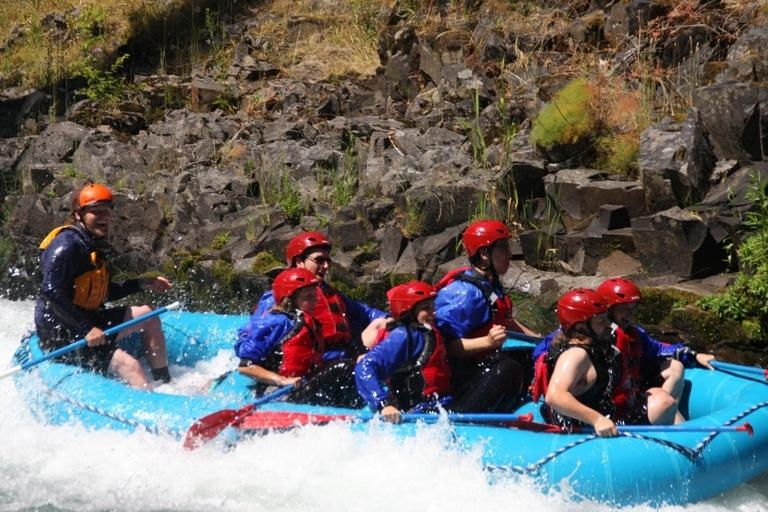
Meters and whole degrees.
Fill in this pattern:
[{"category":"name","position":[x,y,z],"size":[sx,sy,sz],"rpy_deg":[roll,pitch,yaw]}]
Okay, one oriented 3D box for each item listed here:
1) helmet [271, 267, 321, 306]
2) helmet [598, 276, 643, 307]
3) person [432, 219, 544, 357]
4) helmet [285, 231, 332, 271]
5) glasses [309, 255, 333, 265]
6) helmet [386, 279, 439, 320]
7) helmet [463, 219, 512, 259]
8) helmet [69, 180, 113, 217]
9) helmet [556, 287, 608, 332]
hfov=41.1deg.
[{"category":"helmet","position":[-1.122,0.371,12.432],"size":[0.506,0.523,0.453],"rpy_deg":[1,6,7]},{"category":"helmet","position":[2.769,0.415,12.046],"size":[0.375,0.437,0.310],"rpy_deg":[-16,-4,22]},{"category":"person","position":[1.235,0.470,12.439],"size":[1.175,1.931,1.150],"rpy_deg":[-5,6,-30]},{"category":"helmet","position":[-0.957,-0.110,12.979],"size":[0.584,0.576,0.455],"rpy_deg":[4,4,38]},{"category":"glasses","position":[-0.769,0.050,12.794],"size":[0.103,0.125,0.308],"rpy_deg":[9,17,42]},{"category":"helmet","position":[0.316,0.454,11.988],"size":[0.345,0.562,0.365],"rpy_deg":[25,12,22]},{"category":"helmet","position":[1.235,-0.235,12.558],"size":[0.493,0.557,0.577],"rpy_deg":[-11,12,-44]},{"category":"helmet","position":[-3.763,-0.690,13.170],"size":[0.492,0.514,0.422],"rpy_deg":[1,5,24]},{"category":"helmet","position":[2.253,0.608,11.791],"size":[0.520,0.550,0.458],"rpy_deg":[3,12,18]}]
